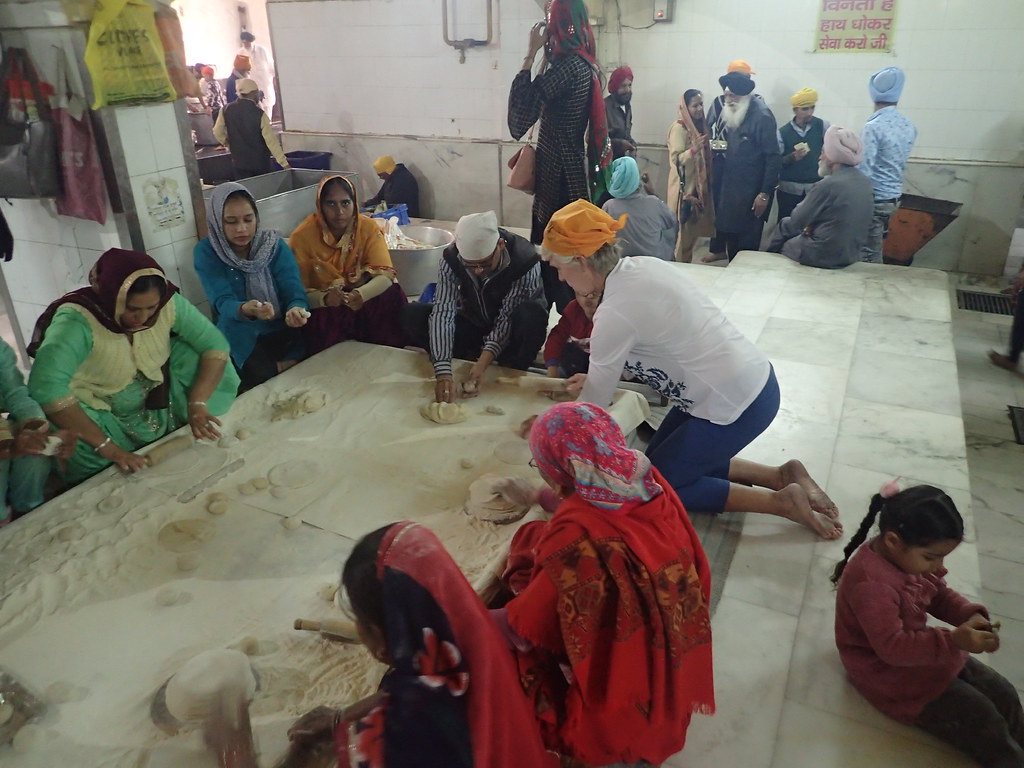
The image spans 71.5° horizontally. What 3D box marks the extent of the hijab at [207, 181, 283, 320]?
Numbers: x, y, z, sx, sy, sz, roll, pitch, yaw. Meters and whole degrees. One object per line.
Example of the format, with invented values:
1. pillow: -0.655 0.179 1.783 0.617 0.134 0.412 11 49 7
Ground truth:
1. hijab: -1.551 -0.756 4.213 0.332 0.820 0.273 -16 10 -30

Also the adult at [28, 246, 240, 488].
1. adult: -1.747 -0.049 3.343 0.758 0.890 0.734 43 42 12

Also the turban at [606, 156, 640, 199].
1. turban: 0.843 -1.503 5.175 0.222 0.278 0.283 -5 6 -5

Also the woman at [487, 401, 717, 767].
1. woman: 0.277 0.639 2.162 0.646 0.891 0.606 -22 34 -19

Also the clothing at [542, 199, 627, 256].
1. clothing: 0.270 -0.628 2.946 0.316 0.223 0.453 -3 4 24

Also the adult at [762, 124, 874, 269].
1. adult: 2.561 -1.581 5.926 0.623 1.438 0.818 -21 42 -6

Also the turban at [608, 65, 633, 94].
1. turban: 0.972 -2.701 6.277 0.254 0.266 0.207 3 11 23

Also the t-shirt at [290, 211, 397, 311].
1. t-shirt: -1.103 -0.765 4.536 0.643 0.630 0.381 -5 50 -14

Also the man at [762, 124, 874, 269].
1. man: 2.561 -1.581 5.926 0.623 1.438 0.818 -21 42 -6

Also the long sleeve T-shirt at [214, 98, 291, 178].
1. long sleeve T-shirt: -2.579 -2.450 7.109 0.613 0.768 0.238 0 25 0

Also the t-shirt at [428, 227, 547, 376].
1. t-shirt: -0.178 -0.447 4.115 0.587 0.763 0.759 4 23 -6

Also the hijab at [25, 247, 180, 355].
1. hijab: -1.802 -0.346 3.317 0.336 0.524 0.619 24 26 20

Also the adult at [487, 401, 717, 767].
1. adult: 0.277 0.639 2.162 0.646 0.891 0.606 -22 34 -19

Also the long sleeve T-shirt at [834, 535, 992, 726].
1. long sleeve T-shirt: 1.353 0.826 2.395 0.450 0.547 0.416 -10 11 -26

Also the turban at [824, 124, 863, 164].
1. turban: 2.530 -1.861 5.492 0.241 0.253 0.318 1 40 -9

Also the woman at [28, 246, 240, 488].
1. woman: -1.747 -0.049 3.343 0.758 0.890 0.734 43 42 12

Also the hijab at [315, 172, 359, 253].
1. hijab: -1.101 -1.086 4.455 0.241 0.476 0.238 -9 27 -29

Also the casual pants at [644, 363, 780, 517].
1. casual pants: 0.819 0.236 2.909 0.477 0.550 0.265 13 48 1

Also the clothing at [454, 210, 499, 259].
1. clothing: -0.200 -0.813 3.868 0.193 0.215 0.267 -2 27 12

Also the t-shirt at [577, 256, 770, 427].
1. t-shirt: 0.645 -0.131 3.049 0.866 0.849 0.631 3 25 17

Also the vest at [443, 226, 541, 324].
1. vest: -0.117 -0.602 4.016 0.547 0.555 0.329 5 62 8

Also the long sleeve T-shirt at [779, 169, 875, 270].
1. long sleeve T-shirt: 2.478 -1.437 5.895 0.635 0.738 0.625 -10 34 -3

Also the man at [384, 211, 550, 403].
1. man: -0.213 -0.514 4.128 0.870 1.017 1.145 2 22 0

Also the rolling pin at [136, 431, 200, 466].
1. rolling pin: -1.590 0.301 3.287 0.052 0.097 0.186 50 52 5

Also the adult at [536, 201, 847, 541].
1. adult: 0.717 -0.082 3.082 1.363 1.465 0.743 1 15 21

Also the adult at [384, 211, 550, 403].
1. adult: -0.219 -0.455 3.945 0.809 0.950 1.055 13 40 12
